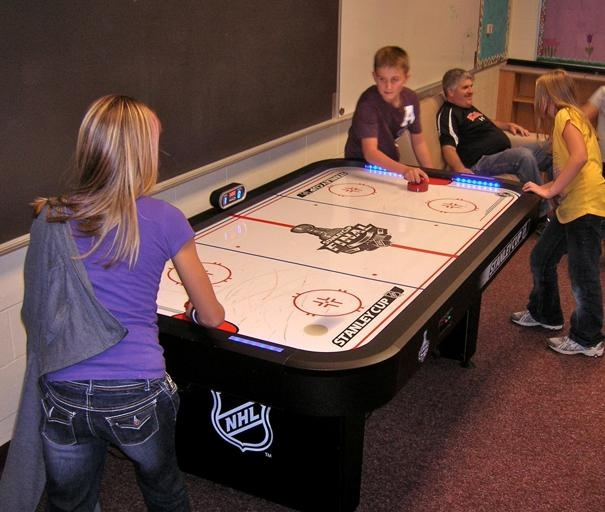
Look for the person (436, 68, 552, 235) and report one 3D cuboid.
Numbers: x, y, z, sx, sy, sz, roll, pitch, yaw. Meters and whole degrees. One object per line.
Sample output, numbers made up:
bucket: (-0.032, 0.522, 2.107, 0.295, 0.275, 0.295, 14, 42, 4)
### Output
person: (1.813, -1.008, 4.542, 1.104, 1.414, 0.877, 4, 24, 32)
